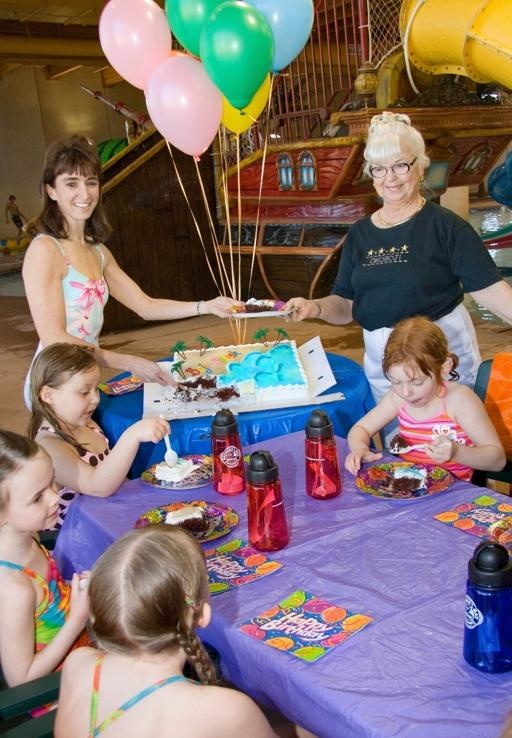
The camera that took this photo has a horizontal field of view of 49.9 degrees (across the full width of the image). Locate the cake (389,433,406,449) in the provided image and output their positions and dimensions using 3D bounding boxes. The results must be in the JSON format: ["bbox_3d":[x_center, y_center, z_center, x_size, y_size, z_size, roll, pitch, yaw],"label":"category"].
[{"bbox_3d":[0.435,0.222,1.688,0.062,0.023,0.076,0,17,7],"label":"cake"}]

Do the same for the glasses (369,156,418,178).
[{"bbox_3d":[0.457,-0.680,1.887,0.171,0.054,0.092,-1,10,27],"label":"glasses"}]

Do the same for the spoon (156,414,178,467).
[{"bbox_3d":[-0.255,0.208,1.577,0.047,0.031,0.211,-10,31,-9],"label":"spoon"}]

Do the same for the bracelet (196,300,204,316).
[{"bbox_3d":[-0.249,-0.281,2.509,0.025,0.057,0.049,8,0,-21],"label":"bracelet"}]
